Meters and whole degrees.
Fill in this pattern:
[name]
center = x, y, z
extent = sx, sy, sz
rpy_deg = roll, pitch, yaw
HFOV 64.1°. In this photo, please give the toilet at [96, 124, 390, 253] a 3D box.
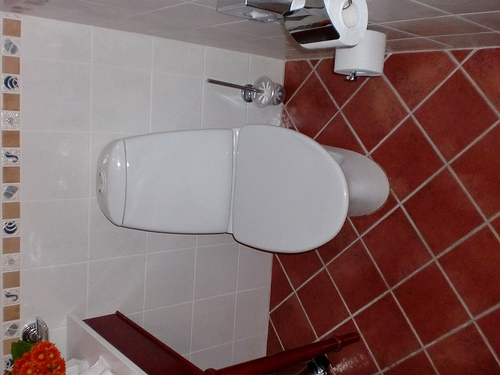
[toilet]
center = 0.099, 0.006, 1.696
extent = 0.798, 0.501, 1.157
rpy_deg = 2, -6, 38
